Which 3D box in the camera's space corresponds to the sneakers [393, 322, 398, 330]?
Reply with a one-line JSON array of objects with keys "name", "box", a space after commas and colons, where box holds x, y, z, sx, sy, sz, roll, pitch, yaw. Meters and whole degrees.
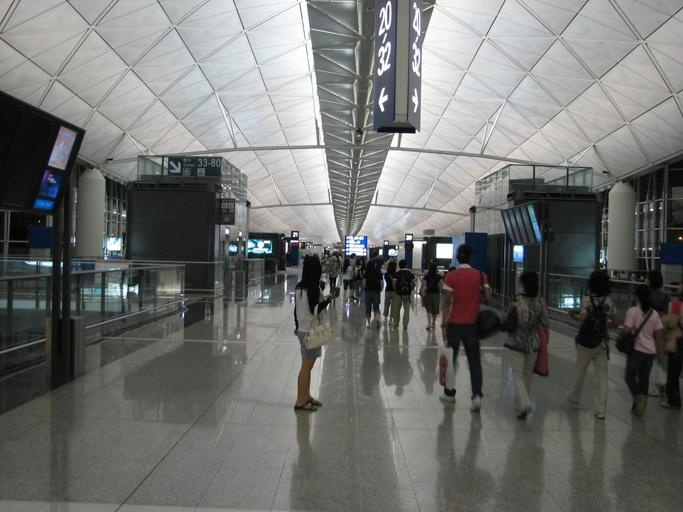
[{"name": "sneakers", "box": [1.591, 2.072, 14.269, 0.133, 0.161, 0.143, 0, 0, -5]}]

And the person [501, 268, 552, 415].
[{"name": "person", "box": [2.709, 1.265, 7.122, 0.532, 1.471, 0.713, 2, 1, 37]}]

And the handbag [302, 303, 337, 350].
[{"name": "handbag", "box": [-0.347, 1.013, 6.945, 0.451, 0.634, 0.177, -15, 24, -32]}]

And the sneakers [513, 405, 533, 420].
[{"name": "sneakers", "box": [2.578, 2.235, 6.936, 0.302, 0.221, 0.160, -3, -5, 34]}]

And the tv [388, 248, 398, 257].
[{"name": "tv", "box": [7.880, -0.721, 74.993, 1.293, 1.347, 1.129, 1, 5, 21]}]

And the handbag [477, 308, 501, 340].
[{"name": "handbag", "box": [2.209, 1.051, 7.515, 0.325, 0.466, 0.480, -3, -8, 32]}]

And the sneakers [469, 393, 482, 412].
[{"name": "sneakers", "box": [2.012, 2.168, 7.147, 0.190, 0.262, 0.192, 1, 1, 2]}]

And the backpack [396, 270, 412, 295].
[{"name": "backpack", "box": [1.745, 0.724, 13.621, 0.642, 0.849, 0.467, 1, -1, -2]}]

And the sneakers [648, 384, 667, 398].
[{"name": "sneakers", "box": [5.330, 2.266, 8.183, 0.133, 0.188, 0.425, 0, 3, 5]}]

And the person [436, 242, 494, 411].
[{"name": "person", "box": [1.951, 1.040, 7.601, 0.751, 2.469, 1.074, 1, 1, 14]}]

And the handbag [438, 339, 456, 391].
[{"name": "handbag", "box": [1.756, 1.838, 7.998, 0.292, 0.751, 0.845, 5, -9, 3]}]

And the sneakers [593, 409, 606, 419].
[{"name": "sneakers", "box": [3.773, 2.287, 6.967, 0.176, 0.101, 0.217, 1, 2, 10]}]

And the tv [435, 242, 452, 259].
[{"name": "tv", "box": [8.572, -0.533, 40.282, 1.321, 1.301, 0.322, 0, -6, 13]}]

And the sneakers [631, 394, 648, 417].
[{"name": "sneakers", "box": [4.408, 2.230, 7.070, 0.144, 0.389, 0.162, -2, 29, 13]}]

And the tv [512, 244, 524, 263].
[{"name": "tv", "box": [7.694, -0.155, 20.792, 0.513, 1.028, 0.731, 2, -1, 1]}]

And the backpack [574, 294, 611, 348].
[{"name": "backpack", "box": [3.733, 0.963, 7.053, 0.459, 0.592, 0.230, 1, 1, 4]}]
